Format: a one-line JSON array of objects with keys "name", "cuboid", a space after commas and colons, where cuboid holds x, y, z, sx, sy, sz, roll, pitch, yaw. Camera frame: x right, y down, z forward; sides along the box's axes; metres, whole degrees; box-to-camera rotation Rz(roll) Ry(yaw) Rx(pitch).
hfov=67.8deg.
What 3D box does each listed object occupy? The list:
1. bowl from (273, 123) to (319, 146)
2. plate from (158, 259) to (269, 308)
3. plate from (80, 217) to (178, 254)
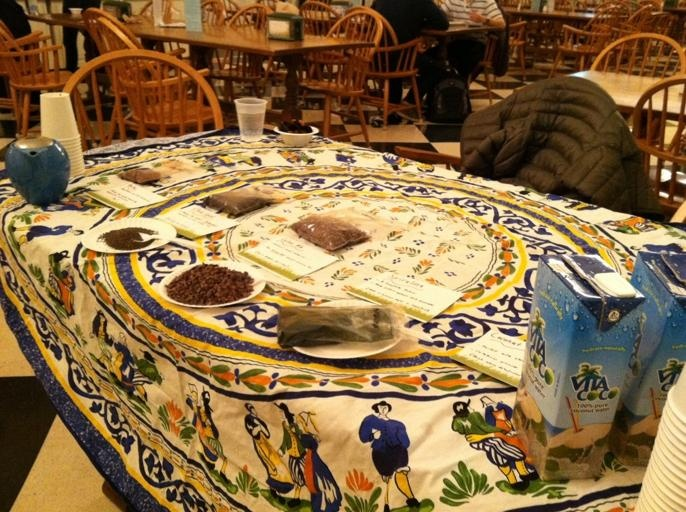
[{"name": "bowl", "cuboid": [-0.162, -0.484, 2.020, 0.128, 0.041, 0.108, 25, 40, 31]}, {"name": "plate", "cuboid": [-0.287, 0.065, 1.121, 0.221, 0.057, 0.129, -2, 19, -7]}, {"name": "plate", "cuboid": [-0.551, -0.049, 1.301, 0.138, 0.020, 0.136, 25, 35, 35]}]
